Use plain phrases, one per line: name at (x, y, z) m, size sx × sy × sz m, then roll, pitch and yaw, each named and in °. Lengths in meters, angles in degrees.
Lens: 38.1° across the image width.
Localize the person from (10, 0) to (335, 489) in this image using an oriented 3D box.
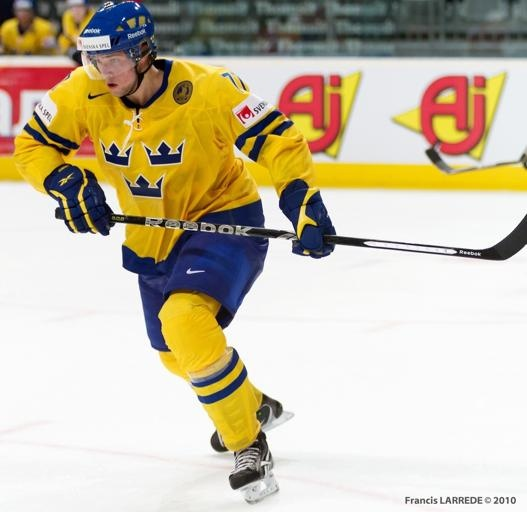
person at (-0.233, -0.072, 2.486) m, size 0.675 × 1.541 × 0.770 m, roll -25°, pitch 15°, yaw -33°

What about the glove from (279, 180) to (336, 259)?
glove at (0.134, -0.118, 2.334) m, size 0.127 × 0.243 × 0.114 m, roll -16°, pitch 12°, yaw 3°

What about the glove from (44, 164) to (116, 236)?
glove at (-0.566, -0.184, 2.563) m, size 0.188 × 0.269 × 0.087 m, roll -40°, pitch -13°, yaw 14°
